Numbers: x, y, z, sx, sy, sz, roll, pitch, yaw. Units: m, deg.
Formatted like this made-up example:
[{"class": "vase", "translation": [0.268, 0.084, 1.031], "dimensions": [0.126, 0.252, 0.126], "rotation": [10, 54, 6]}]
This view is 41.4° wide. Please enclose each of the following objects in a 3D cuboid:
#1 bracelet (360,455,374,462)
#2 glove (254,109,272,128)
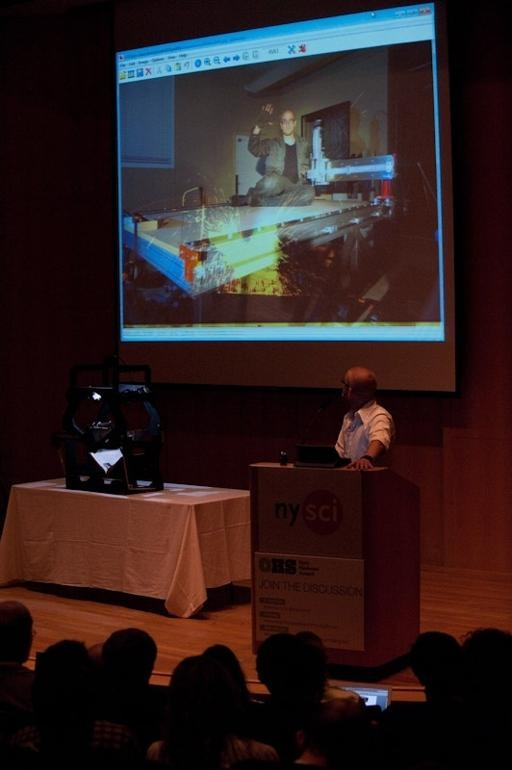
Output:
[{"class": "bracelet", "translation": [0.455, 0.299, 2.787], "dimensions": [0.037, 0.031, 0.044], "rotation": [1, 5, 2]}, {"class": "glove", "translation": [0.055, -1.915, 4.846], "dimensions": [0.094, 0.129, 0.035], "rotation": [23, 12, 24]}]
